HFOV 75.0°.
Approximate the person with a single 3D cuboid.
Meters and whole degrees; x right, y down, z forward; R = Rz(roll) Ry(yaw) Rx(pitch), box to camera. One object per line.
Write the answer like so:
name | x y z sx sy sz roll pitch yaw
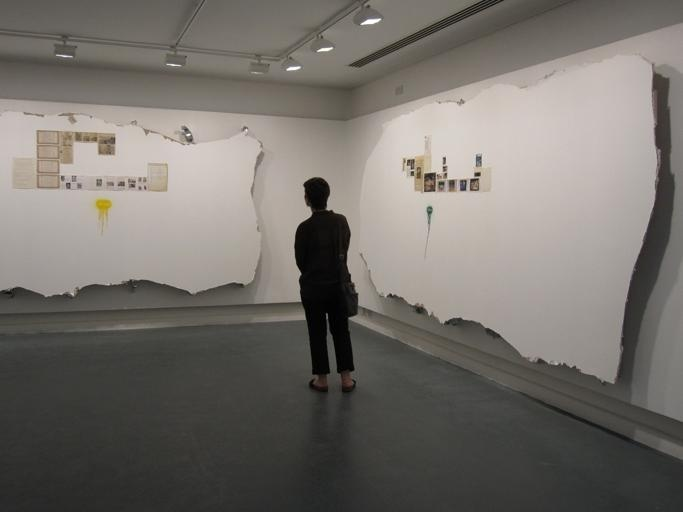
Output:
person | -0.162 0.300 4.403 0.569 2.130 0.298 2 4 10
